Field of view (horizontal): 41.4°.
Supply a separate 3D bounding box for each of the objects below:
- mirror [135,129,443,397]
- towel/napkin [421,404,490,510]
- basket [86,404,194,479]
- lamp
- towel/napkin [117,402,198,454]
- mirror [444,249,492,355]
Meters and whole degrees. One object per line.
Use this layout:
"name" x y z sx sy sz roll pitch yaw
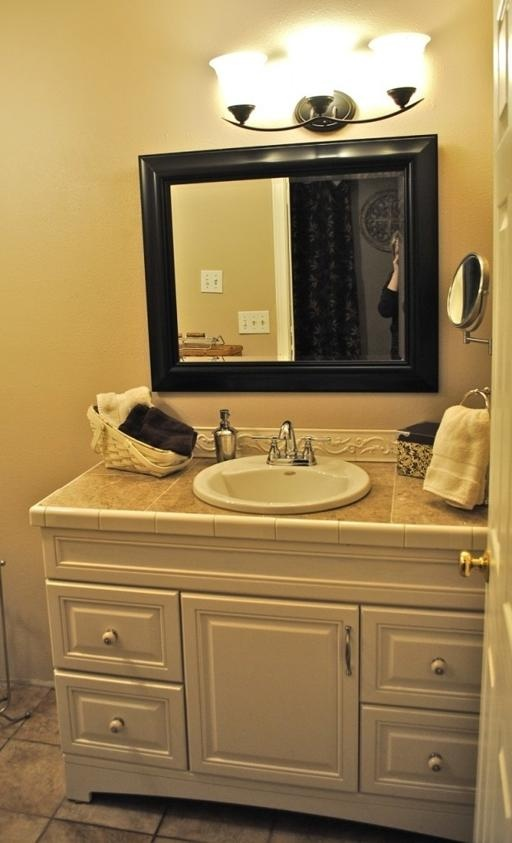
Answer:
"mirror" 0.114 -0.439 1.773 0.649 0.595 0.048 2 15 15
"towel/napkin" 0.427 0.085 1.414 0.138 0.209 0.060 19 3 40
"basket" -0.303 0.029 1.795 0.216 0.108 0.181 15 16 16
"lamp" 0.138 -0.836 1.647 0.544 0.241 0.146 1 13 16
"towel/napkin" -0.256 0.020 1.784 0.140 0.047 0.152 23 28 -1
"mirror" 0.459 -0.258 1.478 0.084 0.215 0.425 1 14 18
